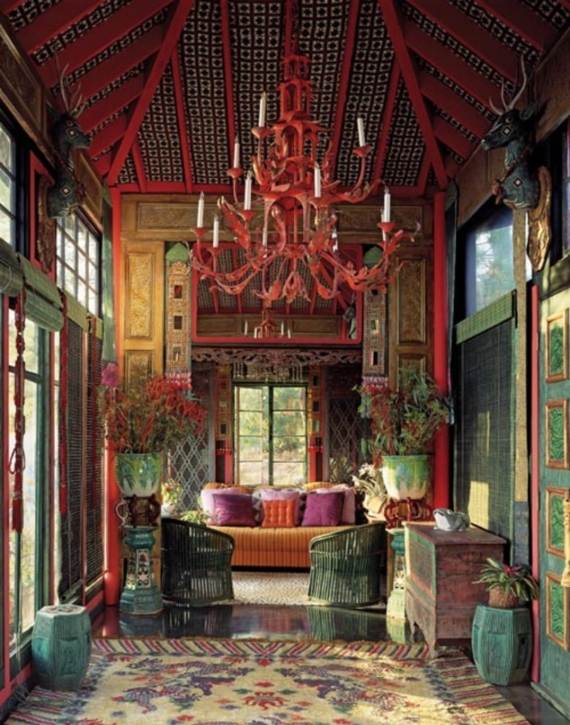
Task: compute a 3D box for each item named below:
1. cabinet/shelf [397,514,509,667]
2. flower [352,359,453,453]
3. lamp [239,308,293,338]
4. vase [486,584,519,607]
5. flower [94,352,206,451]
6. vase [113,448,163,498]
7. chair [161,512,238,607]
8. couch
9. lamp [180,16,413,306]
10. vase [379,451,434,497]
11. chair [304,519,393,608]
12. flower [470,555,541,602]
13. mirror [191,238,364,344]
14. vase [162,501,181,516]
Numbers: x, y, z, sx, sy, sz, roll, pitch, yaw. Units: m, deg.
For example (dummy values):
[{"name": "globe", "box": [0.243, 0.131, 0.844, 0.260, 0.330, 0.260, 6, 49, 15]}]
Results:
[{"name": "cabinet/shelf", "box": [1.156, 1.560, 4.474, 0.343, 0.628, 1.060, 0, -10, 6]}, {"name": "flower", "box": [1.212, 0.484, 6.785, 0.954, 0.941, 0.735, -2, -10, 17]}, {"name": "lamp", "box": [-0.384, -0.689, 11.565, 0.672, 0.667, 0.370, 0, -14, -6]}, {"name": "vase", "box": [1.328, 1.423, 4.027, 0.172, 0.120, 0.168, -2, -10, 18]}, {"name": "flower", "box": [-1.358, 0.445, 6.686, 0.945, 0.980, 0.775, 2, -10, -8]}, {"name": "vase", "box": [-1.468, 1.100, 6.400, 0.433, 0.398, 0.442, -1, -7, 10]}, {"name": "chair", "box": [-0.940, 2.015, 6.799, 0.646, 0.886, 0.726, 2, -4, -43]}, {"name": "couch", "box": [-0.201, 2.261, 9.034, 0.772, 0.801, 1.589, -9, -6, -44]}, {"name": "lamp", "box": [0.040, -1.299, 3.984, 1.119, 1.891, 1.167, 0, -10, -1]}, {"name": "vase", "box": [1.192, 1.131, 6.530, 0.500, 0.439, 0.544, 1, -12, 9]}, {"name": "chair", "box": [0.672, 1.994, 6.822, 0.743, 0.953, 0.915, 0, -16, 10]}, {"name": "flower", "box": [1.392, 1.364, 4.120, 0.365, 0.166, 0.388, 1, -2, 15]}, {"name": "mirror", "box": [-0.121, -0.805, 7.634, 2.022, 1.195, 0.110, 1, 3, 11]}, {"name": "vase", "box": [-1.511, 1.861, 8.530, 0.220, 0.166, 0.223, 1, -7, -1]}]
